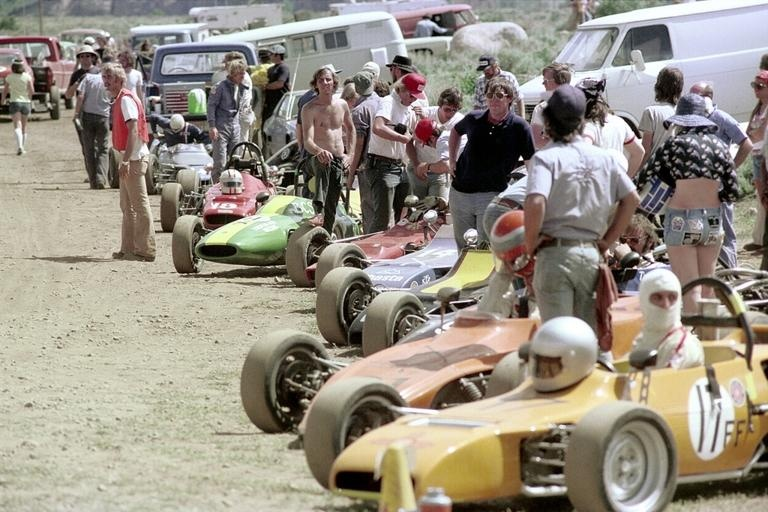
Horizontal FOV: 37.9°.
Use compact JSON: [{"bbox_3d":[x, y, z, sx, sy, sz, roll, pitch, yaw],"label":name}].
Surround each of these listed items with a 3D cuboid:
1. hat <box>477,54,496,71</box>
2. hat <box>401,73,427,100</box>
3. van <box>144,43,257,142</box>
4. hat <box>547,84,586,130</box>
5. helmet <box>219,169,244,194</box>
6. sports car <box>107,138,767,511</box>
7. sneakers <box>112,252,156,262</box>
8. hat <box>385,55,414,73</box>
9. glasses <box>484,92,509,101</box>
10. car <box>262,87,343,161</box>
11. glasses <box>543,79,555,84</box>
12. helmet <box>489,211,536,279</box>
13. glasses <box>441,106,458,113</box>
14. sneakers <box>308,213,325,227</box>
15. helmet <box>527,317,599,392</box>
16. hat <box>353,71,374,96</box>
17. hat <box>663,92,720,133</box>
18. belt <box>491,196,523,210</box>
[{"bbox_3d":[1.388,-2.566,14.956,0.247,0.141,0.174,-23,18,-26],"label":"hat"},{"bbox_3d":[0.358,-2.120,14.110,0.297,0.352,0.620,-1,13,1],"label":"hat"},{"bbox_3d":[-3.984,-3.562,23.334,1.653,1.156,2.370,0,16,2],"label":"van"},{"bbox_3d":[1.444,-1.178,9.069,0.266,0.362,0.208,23,-21,-14],"label":"hat"},{"bbox_3d":[-2.147,-1.013,15.617,0.258,0.285,0.348,0,0,-10],"label":"helmet"},{"bbox_3d":[0.080,0.751,10.189,3.070,1.088,3.368,-7,14,-22],"label":"sports car"},{"bbox_3d":[-3.546,0.029,15.734,0.412,0.095,0.231,3,4,6],"label":"sneakers"},{"bbox_3d":[0.179,-2.641,15.345,0.305,0.113,0.269,8,5,25],"label":"hat"},{"bbox_3d":[1.133,-1.566,11.051,0.260,0.104,0.156,0,13,5],"label":"glasses"},{"bbox_3d":[-1.706,-2.464,20.779,1.235,0.942,1.907,-3,1,-32],"label":"car"},{"bbox_3d":[1.684,-1.771,11.457,0.074,0.025,0.073,6,3,-10],"label":"glasses"},{"bbox_3d":[1.098,-0.094,9.354,0.273,0.635,0.519,-7,15,-23],"label":"helmet"},{"bbox_3d":[0.806,-1.735,13.385,0.217,0.095,0.169,-11,17,-36],"label":"glasses"},{"bbox_3d":[-0.880,-0.450,14.380,0.197,0.104,0.122,-5,5,-15],"label":"sneakers"},{"bbox_3d":[1.378,0.709,8.520,0.636,0.518,0.492,-15,16,-35],"label":"helmet"},{"bbox_3d":[-0.269,-2.279,14.909,0.223,0.338,0.129,0,-5,8],"label":"hat"},{"bbox_3d":[2.874,-1.336,10.500,0.449,0.269,0.419,-6,10,-39],"label":"hat"},{"bbox_3d":[1.145,-0.489,10.573,0.184,0.090,0.140,20,-6,40],"label":"belt"}]
